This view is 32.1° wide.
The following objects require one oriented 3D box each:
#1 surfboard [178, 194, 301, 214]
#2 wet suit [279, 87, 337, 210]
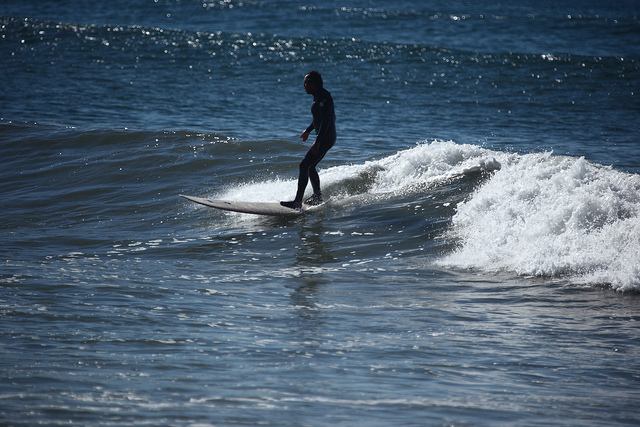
[{"bbox_3d":[-2.175,-0.249,30.663,3.335,0.153,0.406,4,15,-22],"label":"surfboard"},{"bbox_3d":[-0.202,-1.720,30.006,0.503,3.347,1.171,21,32,40],"label":"wet suit"}]
